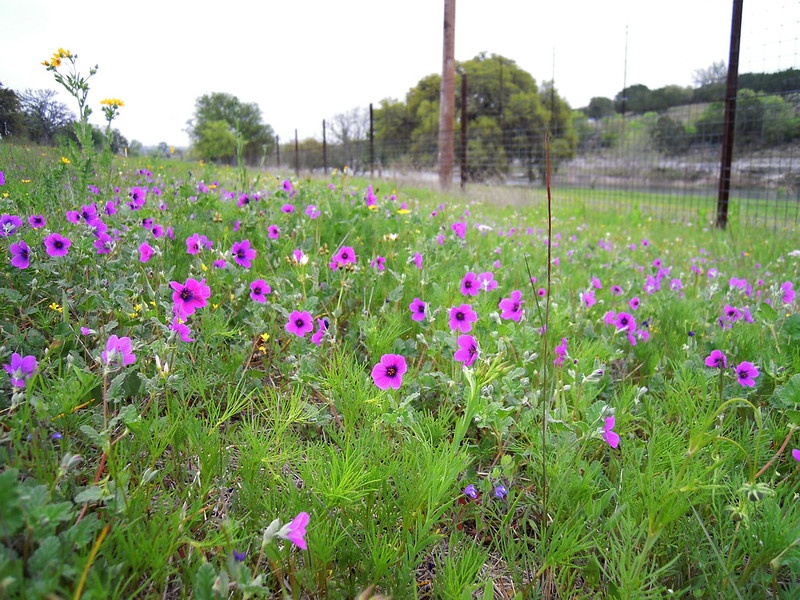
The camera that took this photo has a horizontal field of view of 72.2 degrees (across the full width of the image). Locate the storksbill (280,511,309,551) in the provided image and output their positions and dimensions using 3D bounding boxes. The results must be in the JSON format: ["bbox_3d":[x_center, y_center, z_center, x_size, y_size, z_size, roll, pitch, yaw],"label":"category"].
[{"bbox_3d":[-0.269,0.598,1.468,0.080,0.055,0.099,19,-9,24],"label":"storksbill"}]
